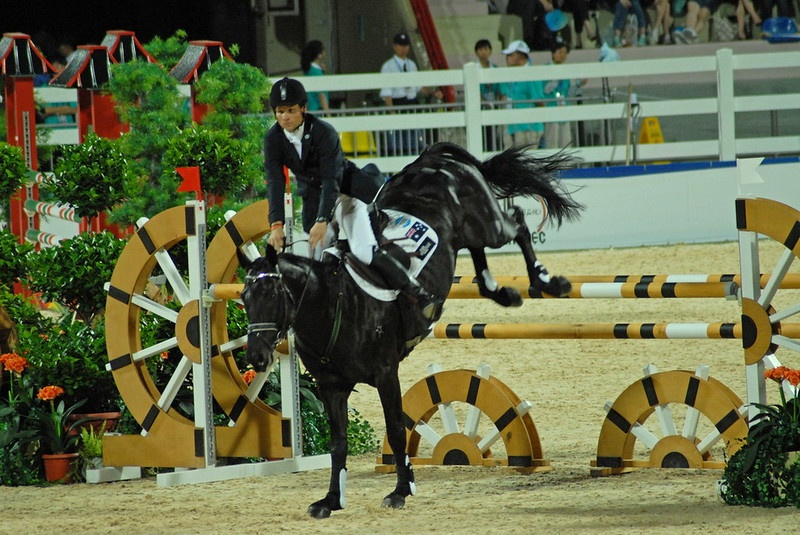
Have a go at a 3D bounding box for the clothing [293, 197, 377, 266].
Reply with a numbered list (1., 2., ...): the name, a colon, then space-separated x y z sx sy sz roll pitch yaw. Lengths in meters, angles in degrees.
1. clothing: -0.490 -0.402 13.770 0.615 0.686 0.212 -7 -15 31

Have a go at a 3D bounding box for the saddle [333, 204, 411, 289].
1. saddle: -0.237 -0.248 13.870 0.552 0.895 0.416 -23 -4 20

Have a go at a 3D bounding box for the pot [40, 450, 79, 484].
1. pot: -3.721 2.156 15.547 0.290 0.246 0.306 1 -3 0

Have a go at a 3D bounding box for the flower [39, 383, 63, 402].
1. flower: -3.784 1.339 15.467 0.193 0.151 0.200 -3 -2 37

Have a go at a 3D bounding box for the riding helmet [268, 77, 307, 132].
1. riding helmet: -1.080 -1.576 13.757 0.314 0.511 0.495 -5 23 9

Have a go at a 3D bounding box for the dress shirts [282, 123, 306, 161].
1. dress shirts: -1.031 -1.230 13.817 0.193 0.300 0.106 -11 4 10
